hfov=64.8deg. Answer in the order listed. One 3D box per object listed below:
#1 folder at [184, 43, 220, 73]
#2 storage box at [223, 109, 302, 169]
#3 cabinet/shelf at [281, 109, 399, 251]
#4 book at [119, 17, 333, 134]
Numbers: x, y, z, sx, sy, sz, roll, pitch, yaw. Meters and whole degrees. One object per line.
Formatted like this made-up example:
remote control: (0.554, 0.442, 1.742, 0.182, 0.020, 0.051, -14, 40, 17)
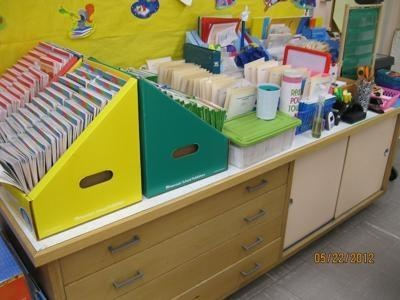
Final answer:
folder: (-0.003, -0.558, 2.024, 0.245, 0.059, 0.223, 29, -4, -40)
storage box: (0.313, -0.138, 1.583, 0.438, 0.173, 0.268, -25, 41, -30)
cabinet/shelf: (0.958, 0.210, 2.195, 0.839, 0.598, 0.287, -22, 38, -29)
book: (0.081, -0.400, 1.839, 0.627, 0.297, 0.856, -24, 43, -39)
